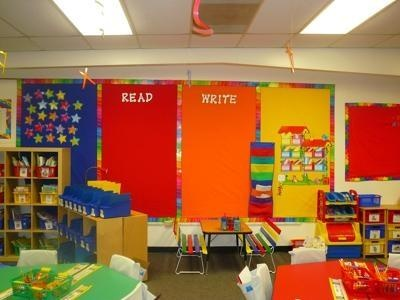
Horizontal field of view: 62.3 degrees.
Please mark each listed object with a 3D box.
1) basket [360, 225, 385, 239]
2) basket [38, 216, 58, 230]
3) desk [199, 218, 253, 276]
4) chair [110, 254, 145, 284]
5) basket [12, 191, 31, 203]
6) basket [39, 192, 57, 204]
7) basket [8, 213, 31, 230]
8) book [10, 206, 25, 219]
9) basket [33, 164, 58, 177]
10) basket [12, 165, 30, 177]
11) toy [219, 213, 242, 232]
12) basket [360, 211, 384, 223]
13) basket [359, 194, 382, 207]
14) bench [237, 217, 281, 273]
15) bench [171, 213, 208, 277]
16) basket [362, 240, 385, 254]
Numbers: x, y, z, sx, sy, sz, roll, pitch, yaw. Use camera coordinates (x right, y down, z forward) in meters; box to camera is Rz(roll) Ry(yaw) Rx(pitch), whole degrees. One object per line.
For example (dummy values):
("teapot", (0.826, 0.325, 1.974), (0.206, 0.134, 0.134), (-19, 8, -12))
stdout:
("basket", (3.272, 1.541, 6.206), (0.296, 0.181, 0.298), (0, -2, 6))
("basket", (-2.725, 1.273, 5.881), (0.394, 0.267, 0.217), (2, -7, -4))
("desk", (0.440, 1.651, 6.243), (0.871, 0.672, 1.379), (1, 4, -8))
("chair", (-0.840, 1.407, 3.958), (0.318, 0.428, 0.362), (5, -27, 8))
("basket", (-3.166, 0.847, 5.873), (0.225, 0.150, 0.222), (1, 0, -14))
("basket", (-2.675, 0.843, 5.837), (0.254, 0.171, 0.187), (2, -1, -8))
("basket", (-3.239, 1.283, 5.966), (0.272, 0.164, 0.270), (0, -1, -3))
("book", (-3.357, 1.151, 6.104), (0.220, 0.215, 0.214), (1, -4, -13))
("basket", (-2.726, 0.375, 5.899), (0.278, 0.142, 0.204), (0, -3, -1))
("basket", (-3.168, 0.383, 5.884), (0.261, 0.164, 0.175), (0, -4, -6))
("toy", (0.532, 1.232, 5.667), (0.324, 0.216, 0.425), (2, 7, 10))
("basket", (3.244, 1.248, 6.189), (0.286, 0.177, 0.286), (0, -5, 1))
("basket", (3.246, 0.966, 6.323), (0.353, 0.147, 0.238), (0, -2, 2))
("bench", (1.008, 1.689, 6.050), (0.499, 0.840, 1.355), (4, 0, 0))
("bench", (-0.187, 1.669, 5.984), (0.525, 0.673, 1.190), (-2, 1, -4))
("basket", (3.262, 1.845, 6.196), (0.331, 0.221, 0.242), (-1, -5, 1))
